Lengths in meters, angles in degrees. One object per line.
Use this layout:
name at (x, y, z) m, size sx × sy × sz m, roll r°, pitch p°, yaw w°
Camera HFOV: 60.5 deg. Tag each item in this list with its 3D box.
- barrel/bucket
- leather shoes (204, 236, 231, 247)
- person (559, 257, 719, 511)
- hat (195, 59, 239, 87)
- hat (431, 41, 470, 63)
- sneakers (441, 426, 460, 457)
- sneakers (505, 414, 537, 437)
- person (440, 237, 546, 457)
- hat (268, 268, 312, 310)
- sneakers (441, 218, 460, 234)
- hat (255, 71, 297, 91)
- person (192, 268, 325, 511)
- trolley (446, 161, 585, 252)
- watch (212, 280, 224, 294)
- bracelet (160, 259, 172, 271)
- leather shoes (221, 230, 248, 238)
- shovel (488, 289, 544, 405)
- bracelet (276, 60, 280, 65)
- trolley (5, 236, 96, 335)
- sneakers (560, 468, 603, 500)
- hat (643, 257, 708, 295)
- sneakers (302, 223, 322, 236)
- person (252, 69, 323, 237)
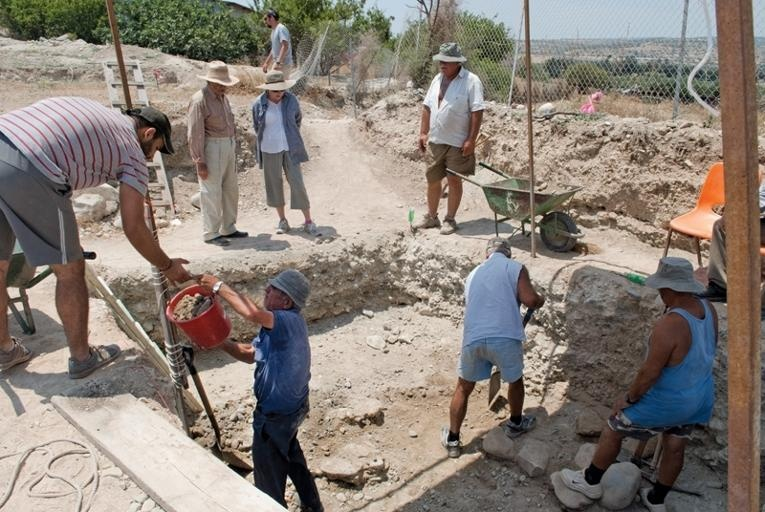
barrel/bucket at (-1.609, 0.555, 6.099) m, size 0.562 × 0.457 × 0.603 m, roll -31°, pitch 22°, yaw 14°
leather shoes at (-2.216, -0.181, 8.751) m, size 0.323 × 0.129 × 0.131 m, roll 0°, pitch 10°, yaw 15°
person at (2.416, 1.197, 5.893) m, size 1.116 × 2.300 × 0.544 m, roll 4°, pitch 20°, yaw 7°
hat at (-2.050, -2.251, 8.219) m, size 0.374 × 0.331 × 0.694 m, roll -4°, pitch 20°, yaw -15°
hat at (0.832, -2.520, 8.229) m, size 0.351 × 0.247 × 0.379 m, roll 3°, pitch 20°, yaw 3°
sneakers at (0.710, 1.942, 6.894) m, size 0.123 × 0.157 × 0.336 m, roll -1°, pitch 29°, yaw -3°
sneakers at (1.456, 1.771, 6.988) m, size 0.381 × 0.177 × 0.156 m, roll -16°, pitch 27°, yaw -28°
person at (1.091, 1.004, 6.719) m, size 0.858 × 2.170 × 0.582 m, roll 3°, pitch 20°, yaw 2°
hat at (-0.842, 0.312, 5.855) m, size 0.324 × 0.344 × 0.183 m, roll -5°, pitch 21°, yaw -19°
sneakers at (0.885, -0.387, 8.885) m, size 0.122 × 0.130 × 0.308 m, roll 3°, pitch 11°, yaw 17°
hat at (-1.417, -2.295, 8.649) m, size 0.419 × 0.271 × 0.730 m, roll -2°, pitch 20°, yaw -12°
person at (-0.991, 1.349, 6.102) m, size 0.745 × 2.474 × 0.854 m, roll -11°, pitch 24°, yaw -31°
trolley at (1.746, -0.591, 8.534) m, size 1.817 × 0.837 × 0.877 m, roll 16°, pitch 23°, yaw 41°
watch at (-1.457, 0.282, 5.843) m, size 0.077 × 0.117 × 0.120 m, roll 19°, pitch 7°, yaw 23°
bracelet at (-1.981, 0.093, 5.994) m, size 0.092 × 0.025 × 0.094 m, roll -15°, pitch 8°, yaw 3°
leather shoes at (-2.024, -0.299, 8.917) m, size 0.303 × 0.130 × 0.113 m, roll -5°, pitch 18°, yaw -10°
shovel at (1.368, 0.976, 6.792) m, size 0.333 × 1.253 × 1.245 m, roll 3°, pitch 5°, yaw 11°
bracelet at (-1.975, -3.576, 12.232) m, size 0.055 × 0.089 × 0.088 m, roll 11°, pitch 12°, yaw 23°
trolley at (-3.666, 0.027, 7.145) m, size 0.697 × 0.895 × 1.352 m, roll -12°, pitch 58°, yaw -39°
sneakers at (1.846, 2.133, 6.217) m, size 0.414 × 0.194 × 0.167 m, roll 22°, pitch 55°, yaw 28°
hat at (2.584, 0.176, 5.753) m, size 0.369 × 0.196 × 0.364 m, roll 9°, pitch 12°, yaw 29°
sneakers at (-0.970, -0.352, 9.051) m, size 0.133 × 0.107 × 0.267 m, roll -33°, pitch 38°, yaw -23°
person at (-1.321, -1.354, 8.851) m, size 0.807 × 2.174 × 0.692 m, roll -2°, pitch 21°, yaw -10°
